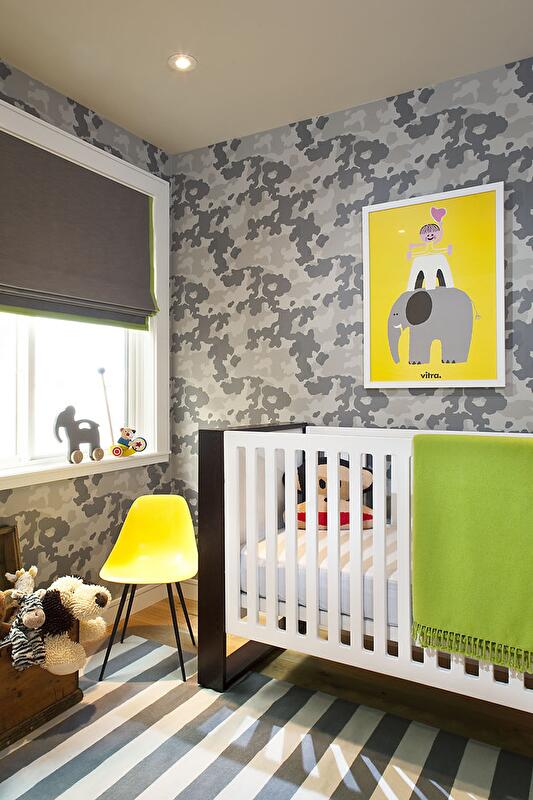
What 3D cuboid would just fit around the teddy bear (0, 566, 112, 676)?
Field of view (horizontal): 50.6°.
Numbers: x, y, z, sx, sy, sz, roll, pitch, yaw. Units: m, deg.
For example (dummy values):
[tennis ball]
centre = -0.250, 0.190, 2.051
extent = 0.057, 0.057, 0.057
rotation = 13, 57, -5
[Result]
[teddy bear]
centre = -0.687, 0.689, 1.759
extent = 0.344, 0.209, 0.277
rotation = -16, -8, 35
